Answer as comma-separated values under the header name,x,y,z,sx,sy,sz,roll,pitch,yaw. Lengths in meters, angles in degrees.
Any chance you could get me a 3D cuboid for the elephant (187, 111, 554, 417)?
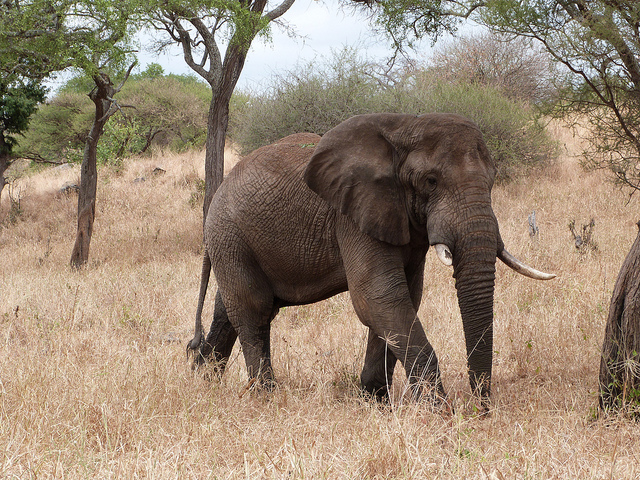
name,x,y,z,sx,sy,sz,roll,pitch,yaw
elephant,0.377,0.236,7.562,3.364,3.092,1.149,4,15,20
